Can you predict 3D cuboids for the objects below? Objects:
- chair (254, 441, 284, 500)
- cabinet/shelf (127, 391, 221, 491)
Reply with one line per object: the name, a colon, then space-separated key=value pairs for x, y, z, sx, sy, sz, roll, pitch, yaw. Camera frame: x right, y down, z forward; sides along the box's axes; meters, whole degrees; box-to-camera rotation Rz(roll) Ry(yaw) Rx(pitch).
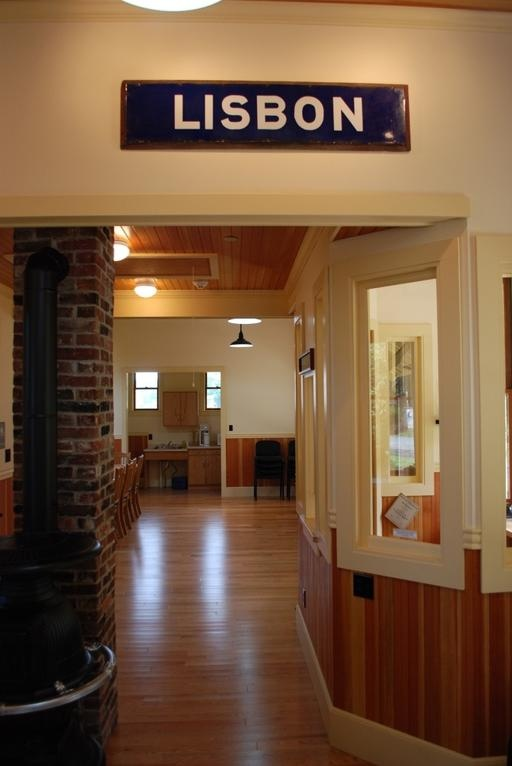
chair: x=0.209 y=1.311 z=9.018 sx=0.455 sy=0.886 sz=0.536 roll=-1 pitch=-2 yaw=3
cabinet/shelf: x=-1.443 y=0.853 z=10.407 sx=1.661 sy=1.993 sz=1.038 roll=-1 pitch=-2 yaw=-2
